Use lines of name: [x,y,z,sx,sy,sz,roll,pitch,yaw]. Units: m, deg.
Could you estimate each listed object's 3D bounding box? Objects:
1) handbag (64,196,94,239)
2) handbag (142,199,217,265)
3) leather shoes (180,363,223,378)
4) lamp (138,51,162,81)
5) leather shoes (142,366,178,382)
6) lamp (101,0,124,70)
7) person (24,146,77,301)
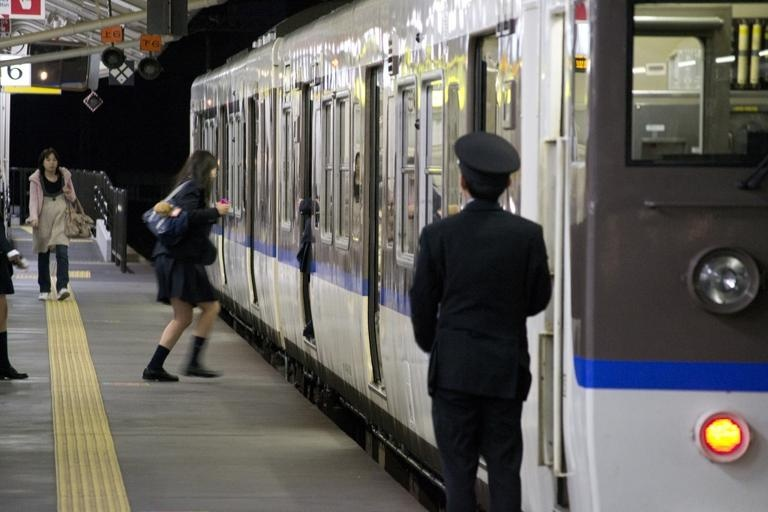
handbag: [-5.754,-0.687,13.410,0.704,0.661,0.318,4,4,31]
handbag: [-2.264,-0.250,7.910,0.766,0.751,0.840,0,11,-25]
leather shoes: [-2.188,1.369,8.588,0.490,0.275,0.187,-1,7,-6]
lamp: [-6.595,-5.374,20.052,0.585,0.958,3.058,0,5,-17]
leather shoes: [-2.750,1.410,8.761,0.441,0.227,0.173,0,2,-15]
lamp: [-7.043,-5.816,18.405,0.539,1.975,2.520,0,4,-22]
person: [-6.341,-0.568,13.458,0.831,2.877,0.882,3,4,38]
